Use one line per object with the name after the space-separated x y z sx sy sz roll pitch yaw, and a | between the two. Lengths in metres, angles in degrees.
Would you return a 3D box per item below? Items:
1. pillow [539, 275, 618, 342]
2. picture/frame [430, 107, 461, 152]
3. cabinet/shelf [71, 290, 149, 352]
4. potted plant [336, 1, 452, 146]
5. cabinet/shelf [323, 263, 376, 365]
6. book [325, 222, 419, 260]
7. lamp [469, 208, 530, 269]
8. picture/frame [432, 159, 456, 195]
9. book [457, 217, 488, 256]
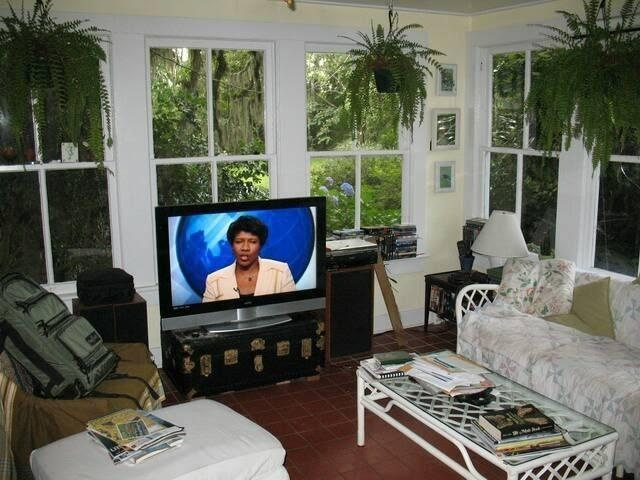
2.103 0.532 3.884 0.136 0.434 0.448 17 -13 -29 | pillow
1.314 -1.187 5.316 0.453 0.519 0.037 -8 14 -28 | picture/frame
-1.655 0.618 3.970 0.580 0.542 0.386 0 -4 -24 | cabinet/shelf
0.636 -1.540 4.627 0.824 1.279 0.867 0 15 2 | potted plant
0.266 0.686 4.697 0.524 0.857 0.158 -7 16 -24 | cabinet/shelf
0.605 0.041 5.177 0.985 0.358 0.261 -8 16 -28 | book
1.612 -0.059 4.436 0.450 0.605 0.457 8 15 30 | lamp
1.324 -0.692 5.396 0.349 0.433 0.034 -9 14 -33 | picture/frame
1.609 -0.061 5.359 0.403 0.483 0.366 4 12 25 | book
